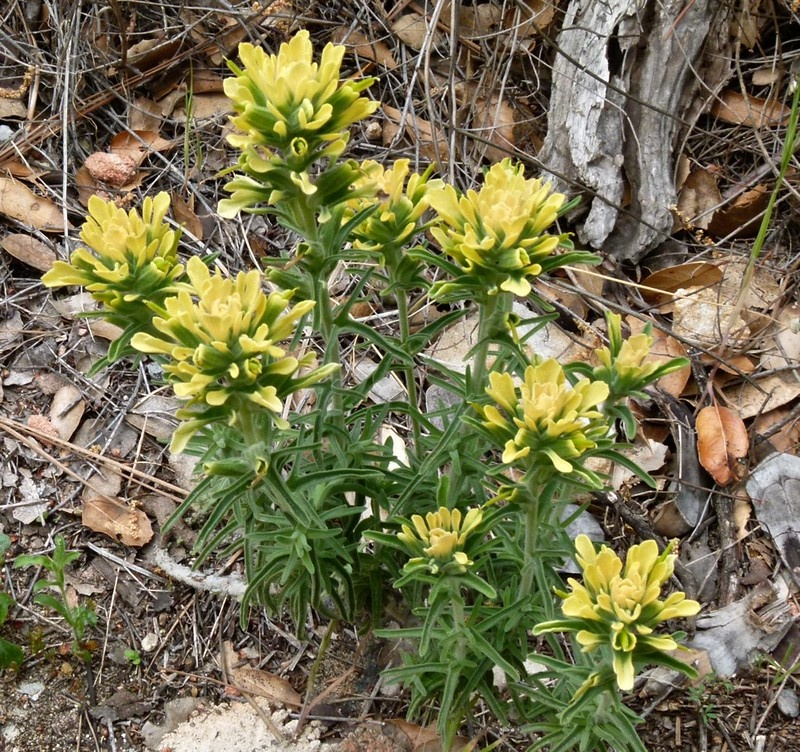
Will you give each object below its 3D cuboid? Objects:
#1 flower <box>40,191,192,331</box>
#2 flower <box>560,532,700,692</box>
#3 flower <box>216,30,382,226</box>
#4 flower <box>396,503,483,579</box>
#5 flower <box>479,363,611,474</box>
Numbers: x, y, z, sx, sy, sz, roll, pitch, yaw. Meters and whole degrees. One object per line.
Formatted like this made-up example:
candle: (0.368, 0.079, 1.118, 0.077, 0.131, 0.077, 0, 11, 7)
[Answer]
flower: (-0.920, -0.374, 2.865, 0.510, 0.480, 0.477, -14, 4, -39)
flower: (0.652, 0.708, 2.404, 0.355, 0.443, 0.399, 15, 55, 5)
flower: (-0.341, -0.712, 2.764, 0.596, 0.695, 0.502, -9, 16, -4)
flower: (0.121, 0.546, 2.648, 0.271, 0.129, 0.263, -10, 40, 7)
flower: (0.420, 0.150, 2.503, 0.354, 0.271, 0.312, 7, 15, 6)
